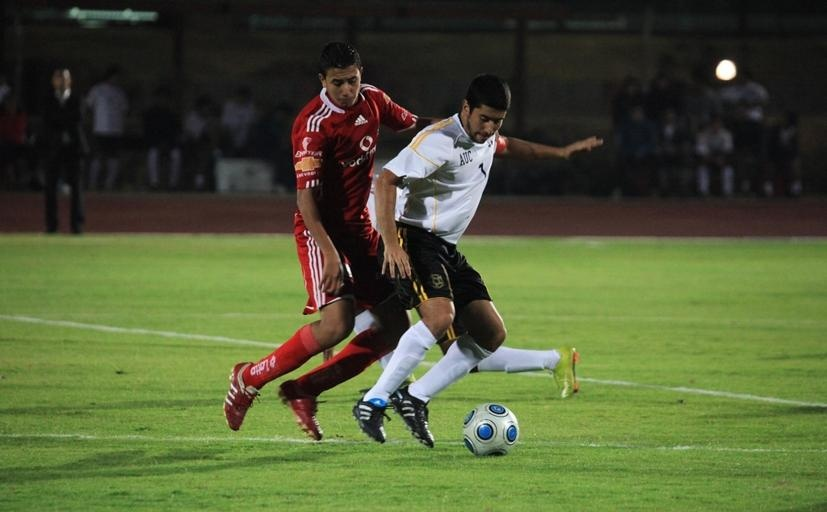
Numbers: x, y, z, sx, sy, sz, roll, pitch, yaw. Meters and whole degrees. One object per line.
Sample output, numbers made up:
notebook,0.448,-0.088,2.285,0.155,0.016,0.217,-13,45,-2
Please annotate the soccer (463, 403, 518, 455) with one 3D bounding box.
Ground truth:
soccer,0.789,1.796,13.510,0.555,0.491,0.511,5,-7,-40
